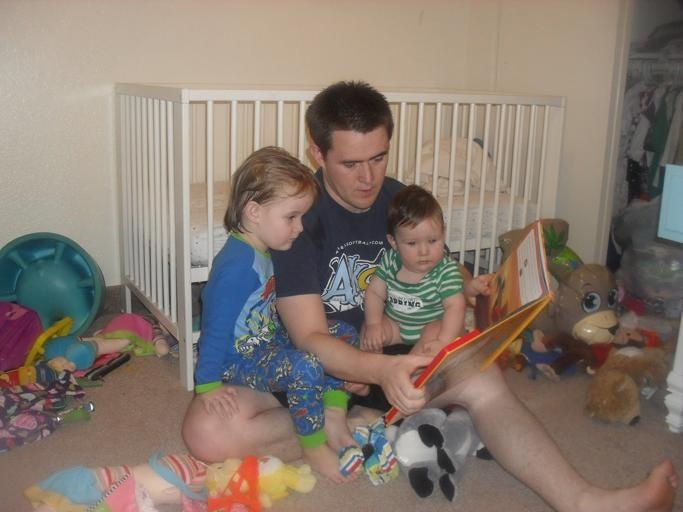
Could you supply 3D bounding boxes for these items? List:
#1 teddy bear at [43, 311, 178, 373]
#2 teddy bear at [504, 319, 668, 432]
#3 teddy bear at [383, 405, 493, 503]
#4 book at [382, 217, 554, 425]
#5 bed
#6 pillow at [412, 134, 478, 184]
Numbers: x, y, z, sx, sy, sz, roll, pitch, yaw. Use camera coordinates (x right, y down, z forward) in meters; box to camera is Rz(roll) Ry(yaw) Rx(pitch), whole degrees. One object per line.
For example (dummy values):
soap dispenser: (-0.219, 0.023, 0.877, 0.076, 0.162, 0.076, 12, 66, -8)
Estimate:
teddy bear: (-1.019, 0.342, 2.417, 0.347, 0.160, 0.235, -4, 3, -44)
teddy bear: (1.111, 0.466, 2.205, 0.347, 0.140, 0.368, -11, 19, -20)
teddy bear: (0.297, 0.616, 1.755, 0.262, 0.257, 0.126, 27, -2, -13)
book: (0.416, 0.242, 1.831, 0.126, 0.798, 0.617, 45, 55, 6)
bed: (-0.033, -0.382, 3.151, 2.297, 1.558, 1.204, -7, 24, -23)
pillow: (0.608, -0.548, 3.059, 0.282, 0.305, 0.092, 6, -19, 10)
